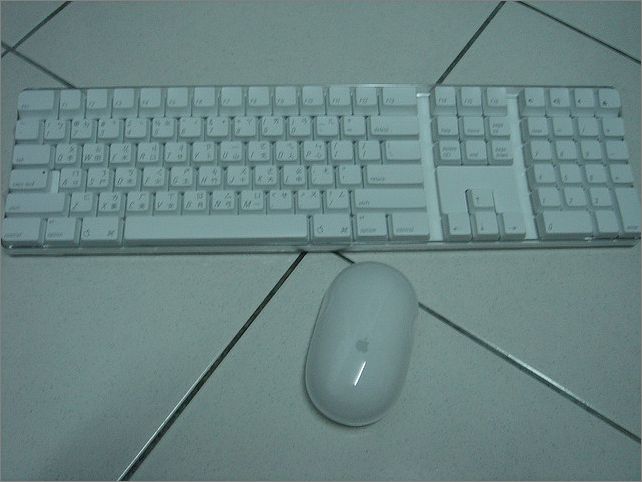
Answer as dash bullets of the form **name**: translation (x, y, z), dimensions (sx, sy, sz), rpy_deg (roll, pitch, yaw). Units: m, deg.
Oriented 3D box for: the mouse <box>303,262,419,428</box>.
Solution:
- **mouse**: translation (0.053, 0.131, 0.754), dimensions (0.125, 0.114, 0.183), rpy_deg (17, -71, -7)
